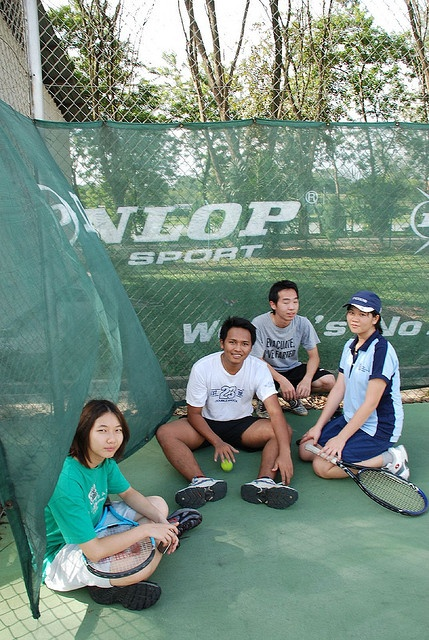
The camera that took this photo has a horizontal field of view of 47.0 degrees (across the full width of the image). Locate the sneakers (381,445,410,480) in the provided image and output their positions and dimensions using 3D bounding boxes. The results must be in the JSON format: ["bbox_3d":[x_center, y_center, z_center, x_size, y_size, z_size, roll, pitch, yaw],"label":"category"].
[{"bbox_3d":[0.912,0.695,2.487,0.108,0.201,0.082,-16,4,-5],"label":"sneakers"}]

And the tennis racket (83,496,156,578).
[{"bbox_3d":[-0.320,0.744,1.703,0.220,0.090,0.397,-3,6,-9],"label":"tennis racket"}]

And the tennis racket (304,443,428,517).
[{"bbox_3d":[0.718,0.742,2.296,0.260,0.181,0.539,-6,7,-31],"label":"tennis racket"}]

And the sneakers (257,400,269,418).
[{"bbox_3d":[0.331,0.624,3.394,0.095,0.036,0.124,7,27,5],"label":"sneakers"}]

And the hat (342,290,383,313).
[{"bbox_3d":[0.756,-0.105,2.475,0.147,0.071,0.104,19,-1,-38],"label":"hat"}]

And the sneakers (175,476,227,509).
[{"bbox_3d":[-0.054,0.755,2.263,0.260,0.096,0.138,-4,8,-32],"label":"sneakers"}]

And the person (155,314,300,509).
[{"bbox_3d":[0.051,0.429,2.513,0.711,0.778,1.057,-4,6,-8],"label":"person"}]

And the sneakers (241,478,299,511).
[{"bbox_3d":[0.241,0.773,2.241,0.262,0.097,0.119,8,10,20],"label":"sneakers"}]

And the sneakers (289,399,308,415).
[{"bbox_3d":[0.572,0.594,3.420,0.186,0.081,0.069,12,16,41],"label":"sneakers"}]

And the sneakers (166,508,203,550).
[{"bbox_3d":[-0.156,0.841,1.989,0.200,0.067,0.088,-34,26,19],"label":"sneakers"}]
